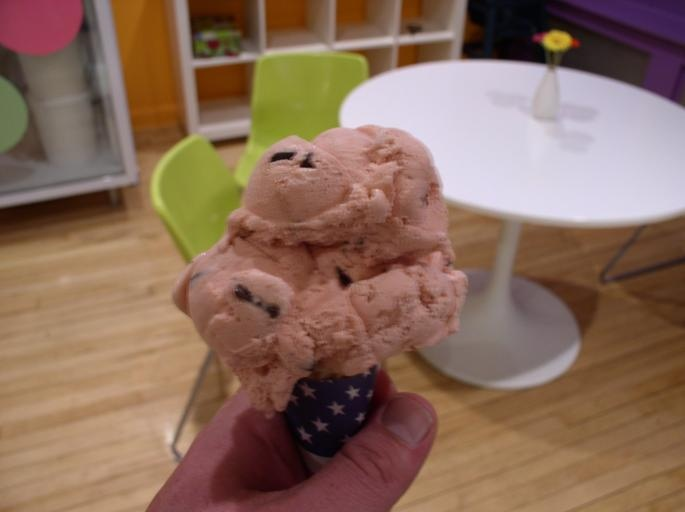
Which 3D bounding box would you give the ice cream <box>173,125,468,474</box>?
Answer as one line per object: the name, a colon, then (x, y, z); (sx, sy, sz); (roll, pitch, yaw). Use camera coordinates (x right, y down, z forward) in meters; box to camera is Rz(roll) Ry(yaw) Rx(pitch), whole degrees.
ice cream: (-0.048, -0.001, 1.563); (0.552, 0.761, 0.538); (-2, 22, -7)
